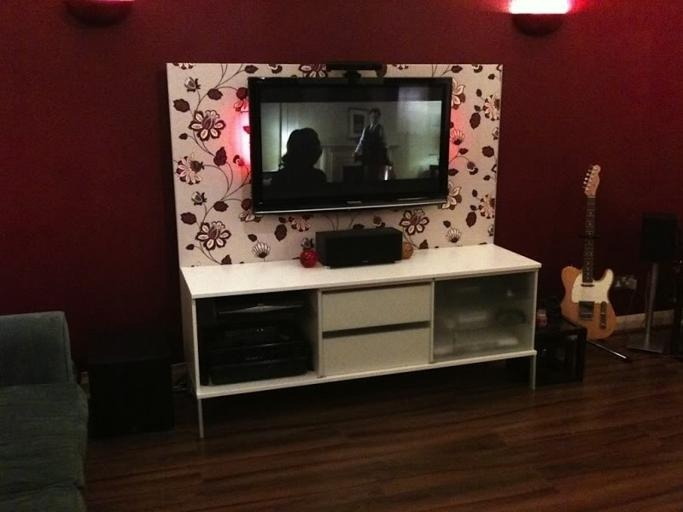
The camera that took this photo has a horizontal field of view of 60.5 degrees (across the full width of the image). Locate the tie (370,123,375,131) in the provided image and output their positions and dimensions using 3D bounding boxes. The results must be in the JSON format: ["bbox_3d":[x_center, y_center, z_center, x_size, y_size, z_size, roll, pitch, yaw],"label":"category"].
[{"bbox_3d":[0.184,-0.773,3.494,0.040,0.039,0.010,3,5,-7],"label":"tie"}]
